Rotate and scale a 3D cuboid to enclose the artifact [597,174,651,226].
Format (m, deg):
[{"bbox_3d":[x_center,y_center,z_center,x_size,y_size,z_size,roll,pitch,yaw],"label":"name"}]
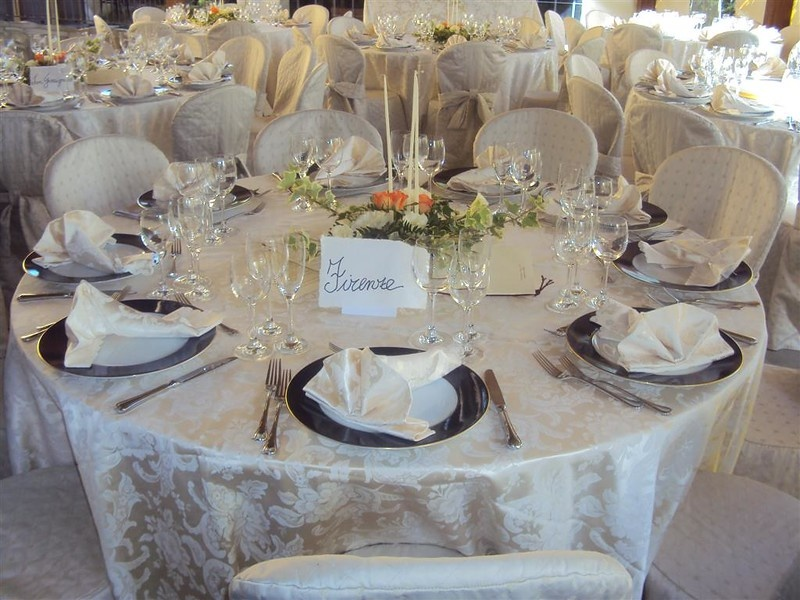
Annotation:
[{"bbox_3d":[0.765,-0.374,2.168,0.150,0.079,0.202,-7,22,-1],"label":"artifact"}]

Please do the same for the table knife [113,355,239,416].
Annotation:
[{"bbox_3d":[-0.506,0.193,1.419,0.240,0.037,0.026,-25,16,-30],"label":"table knife"}]

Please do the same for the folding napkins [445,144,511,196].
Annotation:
[{"bbox_3d":[0.315,-0.470,2.326,0.219,0.085,0.229,-14,32,-21],"label":"folding napkins"}]

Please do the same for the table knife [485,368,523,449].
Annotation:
[{"bbox_3d":[0.220,0.228,1.359,0.029,0.017,0.217,-2,29,1],"label":"table knife"}]

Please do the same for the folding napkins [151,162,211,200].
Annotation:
[{"bbox_3d":[-0.684,-0.377,2.062,0.159,0.089,0.233,4,26,17],"label":"folding napkins"}]

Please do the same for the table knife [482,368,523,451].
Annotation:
[{"bbox_3d":[0.228,0.226,1.364,0.029,0.020,0.217,-5,32,-2],"label":"table knife"}]

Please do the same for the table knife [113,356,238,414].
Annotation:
[{"bbox_3d":[-0.507,0.192,1.421,0.227,0.035,0.024,-25,16,-29],"label":"table knife"}]

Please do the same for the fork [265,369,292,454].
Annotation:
[{"bbox_3d":[-0.257,0.235,1.352,0.024,0.018,0.156,5,51,5],"label":"fork"}]

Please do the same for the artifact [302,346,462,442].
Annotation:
[{"bbox_3d":[-0.036,0.177,1.348,0.313,0.126,0.220,8,21,6],"label":"artifact"}]

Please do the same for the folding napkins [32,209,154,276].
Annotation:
[{"bbox_3d":[-0.913,-0.157,1.827,0.213,0.096,0.268,11,22,-4],"label":"folding napkins"}]

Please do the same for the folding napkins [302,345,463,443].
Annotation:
[{"bbox_3d":[-0.028,0.138,1.336,0.185,0.088,0.219,14,23,25],"label":"folding napkins"}]

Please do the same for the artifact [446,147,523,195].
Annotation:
[{"bbox_3d":[0.321,-0.451,2.331,0.228,0.086,0.233,-17,30,-28],"label":"artifact"}]
